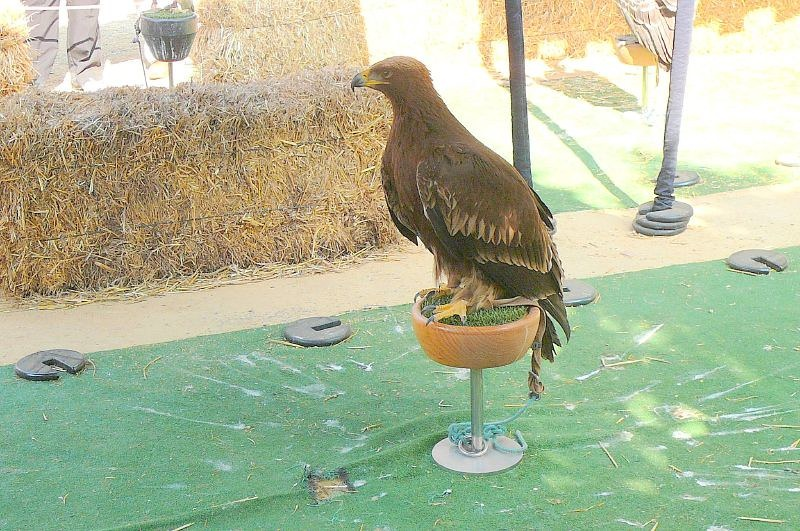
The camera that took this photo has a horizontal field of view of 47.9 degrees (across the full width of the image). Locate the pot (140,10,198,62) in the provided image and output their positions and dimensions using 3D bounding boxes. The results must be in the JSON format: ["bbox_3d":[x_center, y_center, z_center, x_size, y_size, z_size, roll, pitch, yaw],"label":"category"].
[{"bbox_3d":[-1.866,-1.898,7.374,0.554,0.321,0.480,9,21,21],"label":"pot"}]

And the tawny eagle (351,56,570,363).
[{"bbox_3d":[0.351,-0.371,4.943,1.005,1.574,0.444,-5,19,8],"label":"tawny eagle"}]

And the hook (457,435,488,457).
[{"bbox_3d":[0.425,1.059,5.172,0.179,0.113,0.143,1,17,2],"label":"hook"}]
